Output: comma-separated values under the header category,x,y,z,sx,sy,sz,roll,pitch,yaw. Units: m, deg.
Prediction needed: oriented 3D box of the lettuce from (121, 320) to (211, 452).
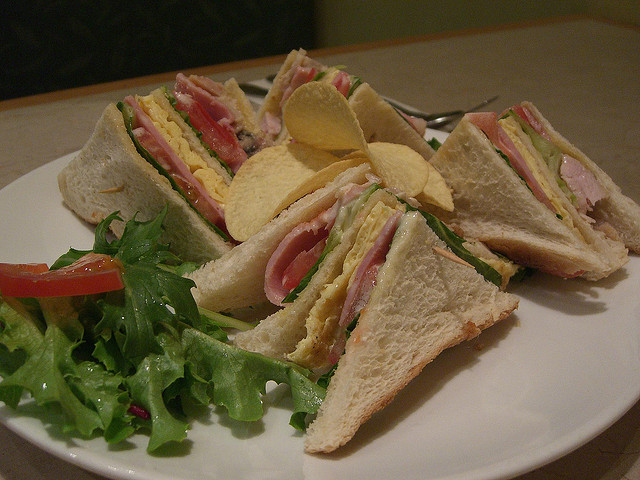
category,x,y,z,sx,sy,sz,roll,pitch,yaw
lettuce,-0.509,0.497,2.094,0.205,0.137,0.307,-24,-17,-18

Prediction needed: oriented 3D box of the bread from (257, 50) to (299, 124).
category,x,y,z,sx,sy,sz,roll,pitch,yaw
bread,-0.237,-0.846,3.308,0.085,0.361,0.358,28,9,16

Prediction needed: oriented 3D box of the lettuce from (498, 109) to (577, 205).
category,x,y,z,sx,sy,sz,roll,pitch,yaw
lettuce,1.137,-0.445,3.012,0.143,0.413,0.405,-40,34,7

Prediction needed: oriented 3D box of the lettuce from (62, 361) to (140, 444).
category,x,y,z,sx,sy,sz,roll,pitch,yaw
lettuce,-0.750,0.564,1.976,0.180,0.296,0.103,-29,49,2

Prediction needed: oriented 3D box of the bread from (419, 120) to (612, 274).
category,x,y,z,sx,sy,sz,roll,pitch,yaw
bread,0.847,-0.166,2.740,0.744,0.758,0.266,11,-20,-26

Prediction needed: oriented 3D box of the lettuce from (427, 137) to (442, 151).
category,x,y,z,sx,sy,sz,roll,pitch,yaw
lettuce,0.643,-0.548,3.307,0.027,0.095,0.097,-38,20,44

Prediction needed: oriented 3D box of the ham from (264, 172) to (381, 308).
category,x,y,z,sx,sy,sz,roll,pitch,yaw
ham,0.064,0.047,2.533,0.614,0.148,0.358,-44,31,2

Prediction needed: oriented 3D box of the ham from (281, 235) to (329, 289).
category,x,y,z,sx,sy,sz,roll,pitch,yaw
ham,-0.058,0.120,2.527,0.247,0.053,0.135,-49,38,-2

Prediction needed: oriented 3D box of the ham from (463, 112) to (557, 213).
category,x,y,z,sx,sy,sz,roll,pitch,yaw
ham,0.874,-0.362,2.924,0.167,0.470,0.473,-34,57,14

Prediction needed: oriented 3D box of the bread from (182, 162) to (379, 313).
category,x,y,z,sx,sy,sz,roll,pitch,yaw
bread,-0.121,0.035,2.660,0.751,0.230,0.579,-38,44,8

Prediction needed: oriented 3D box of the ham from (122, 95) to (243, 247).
category,x,y,z,sx,sy,sz,roll,pitch,yaw
ham,-0.668,-0.315,2.838,0.124,0.887,0.125,-38,-2,20

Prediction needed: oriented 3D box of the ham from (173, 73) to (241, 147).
category,x,y,z,sx,sy,sz,roll,pitch,yaw
ham,-0.586,-0.747,3.276,0.124,0.359,0.365,-49,-8,-5

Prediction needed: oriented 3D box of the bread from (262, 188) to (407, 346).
category,x,y,z,sx,sy,sz,roll,pitch,yaw
bread,0.005,0.121,2.292,0.155,0.606,0.565,26,23,10

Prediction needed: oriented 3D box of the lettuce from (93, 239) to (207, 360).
category,x,y,z,sx,sy,sz,roll,pitch,yaw
lettuce,-0.650,0.175,2.257,0.476,0.134,0.542,14,16,-7

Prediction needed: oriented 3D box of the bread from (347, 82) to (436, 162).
category,x,y,z,sx,sy,sz,roll,pitch,yaw
bread,0.285,-0.641,3.084,0.429,0.109,0.417,28,21,28

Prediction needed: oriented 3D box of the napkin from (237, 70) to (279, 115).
category,x,y,z,sx,sy,sz,roll,pitch,yaw
napkin,-0.411,-0.990,3.951,0.353,0.102,0.356,-32,8,-16

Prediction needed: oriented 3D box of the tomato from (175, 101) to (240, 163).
category,x,y,z,sx,sy,sz,roll,pitch,yaw
tomato,-0.572,-0.562,3.171,0.101,0.426,0.209,-33,0,40

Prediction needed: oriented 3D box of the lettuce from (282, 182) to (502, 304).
category,x,y,z,sx,sy,sz,roll,pitch,yaw
lettuce,0.329,0.161,2.390,0.593,0.594,0.158,-38,39,18
